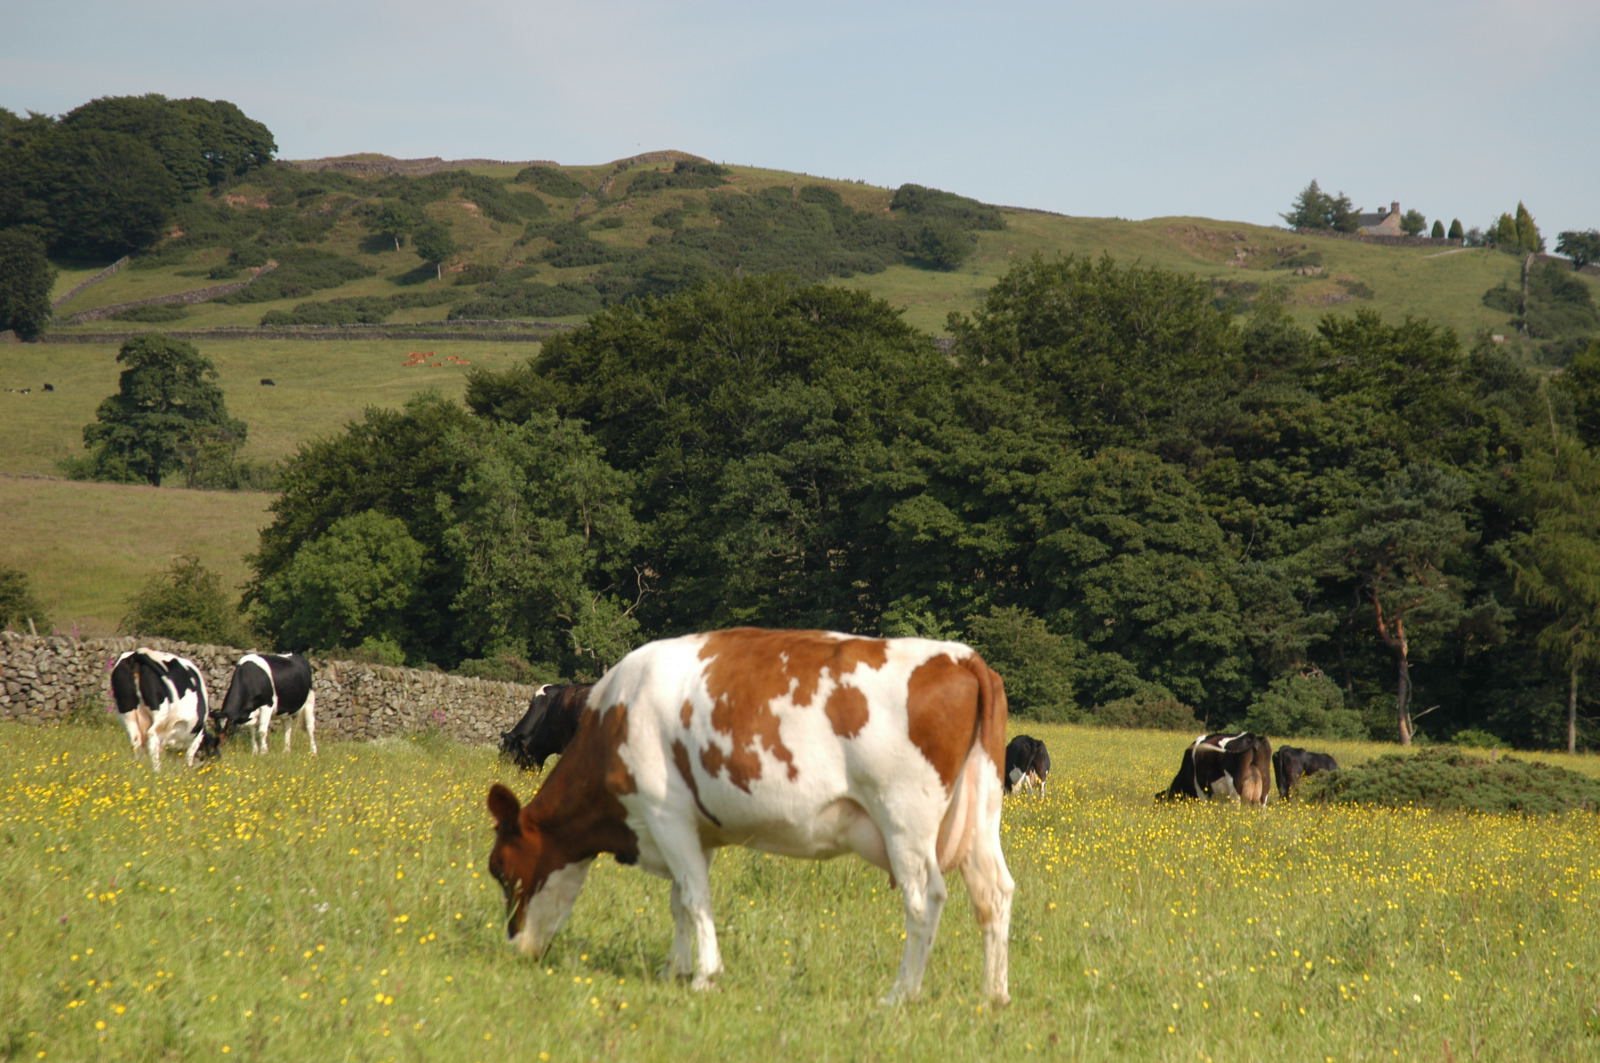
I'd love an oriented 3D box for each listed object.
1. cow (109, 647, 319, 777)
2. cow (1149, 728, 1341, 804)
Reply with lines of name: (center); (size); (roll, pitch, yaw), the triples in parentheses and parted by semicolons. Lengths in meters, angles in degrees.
cow: (-31.857, 9.330, 122.892); (10.606, 5.162, 3.619); (5, 1, -35)
cow: (24.650, 13.021, 125.270); (9.494, 3.883, 2.702); (5, 1, -20)
